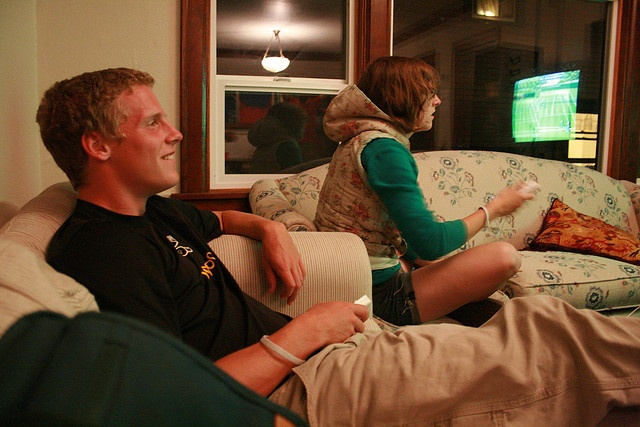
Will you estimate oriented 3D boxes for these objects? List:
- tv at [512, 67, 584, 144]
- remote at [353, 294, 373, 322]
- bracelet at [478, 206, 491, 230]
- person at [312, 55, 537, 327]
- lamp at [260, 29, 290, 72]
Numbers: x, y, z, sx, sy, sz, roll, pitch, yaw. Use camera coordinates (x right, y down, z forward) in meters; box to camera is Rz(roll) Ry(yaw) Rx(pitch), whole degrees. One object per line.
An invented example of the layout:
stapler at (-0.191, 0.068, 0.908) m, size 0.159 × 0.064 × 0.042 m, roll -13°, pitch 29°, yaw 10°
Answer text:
tv at (1.540, -0.749, 3.532) m, size 0.554 × 0.526 × 0.045 m, roll -3°, pitch 8°, yaw -19°
remote at (0.160, 0.317, 1.783) m, size 0.086 × 0.084 × 0.024 m, roll -39°, pitch 47°, yaw -18°
bracelet at (0.678, 0.016, 2.128) m, size 0.041 × 0.108 × 0.082 m, roll -9°, pitch 18°, yaw 17°
person at (0.405, -0.090, 2.225) m, size 0.833 × 1.095 × 0.937 m, roll 0°, pitch 5°, yaw -18°
lamp at (-0.262, -0.976, 3.079) m, size 0.169 × 0.234 × 0.166 m, roll -11°, pitch 24°, yaw -31°
